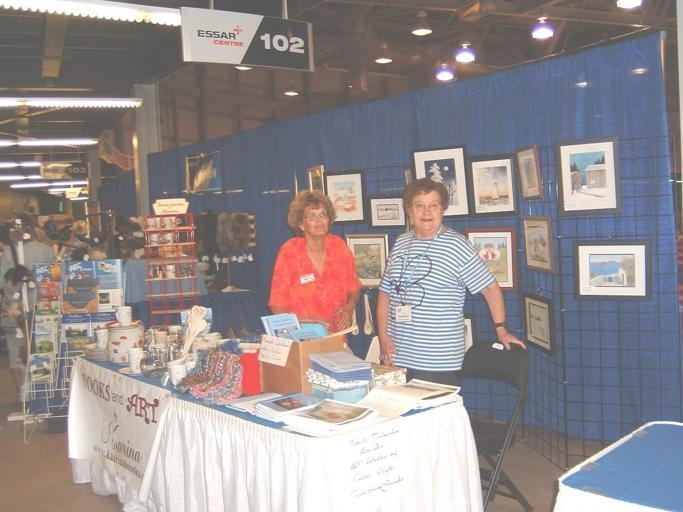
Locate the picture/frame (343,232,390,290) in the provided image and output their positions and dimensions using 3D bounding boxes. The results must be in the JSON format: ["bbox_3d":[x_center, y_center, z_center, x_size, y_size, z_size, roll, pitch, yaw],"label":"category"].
[{"bbox_3d":[0.252,0.045,5.473,0.537,0.645,0.042,-4,-2,39],"label":"picture/frame"}]

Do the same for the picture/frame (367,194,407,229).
[{"bbox_3d":[0.455,-0.448,5.639,0.336,0.288,0.026,2,8,29],"label":"picture/frame"}]

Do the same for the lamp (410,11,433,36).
[{"bbox_3d":[1.009,-2.963,7.442,0.254,0.280,0.253,2,0,0],"label":"lamp"}]

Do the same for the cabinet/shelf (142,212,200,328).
[{"bbox_3d":[-1.922,0.180,6.713,0.600,0.968,1.341,-4,2,-19],"label":"cabinet/shelf"}]

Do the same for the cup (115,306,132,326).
[{"bbox_3d":[-1.605,0.436,4.350,0.095,0.115,0.196,-4,2,-23],"label":"cup"}]

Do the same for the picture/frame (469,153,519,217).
[{"bbox_3d":[1.342,-0.638,5.098,0.551,0.728,0.078,-1,7,25],"label":"picture/frame"}]

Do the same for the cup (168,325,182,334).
[{"bbox_3d":[-1.223,0.541,4.324,0.066,0.061,0.085,0,-8,8],"label":"cup"}]

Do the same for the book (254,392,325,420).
[{"bbox_3d":[-0.271,0.816,3.173,0.265,0.072,0.339,-2,2,42],"label":"book"}]

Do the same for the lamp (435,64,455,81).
[{"bbox_3d":[1.328,-2.387,7.525,0.051,0.225,0.293,-5,2,-42],"label":"lamp"}]

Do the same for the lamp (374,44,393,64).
[{"bbox_3d":[0.563,-2.706,7.769,0.221,0.244,0.241,7,11,23],"label":"lamp"}]

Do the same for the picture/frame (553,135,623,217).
[{"bbox_3d":[1.925,-0.636,4.559,0.624,0.777,0.050,2,13,25],"label":"picture/frame"}]

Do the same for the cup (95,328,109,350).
[{"bbox_3d":[-1.815,0.628,4.463,0.124,0.167,0.153,8,-11,-41],"label":"cup"}]

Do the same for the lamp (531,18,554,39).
[{"bbox_3d":[2.293,-2.603,6.659,0.225,0.216,0.220,-6,10,-42],"label":"lamp"}]

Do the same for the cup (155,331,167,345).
[{"bbox_3d":[-1.270,0.571,4.139,0.077,0.089,0.079,3,-7,0],"label":"cup"}]

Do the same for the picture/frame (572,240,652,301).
[{"bbox_3d":[2.119,0.101,4.545,0.471,0.407,0.036,0,1,24],"label":"picture/frame"}]

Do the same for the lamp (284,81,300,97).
[{"bbox_3d":[-0.739,-2.519,8.753,0.228,0.259,0.232,11,15,41],"label":"lamp"}]

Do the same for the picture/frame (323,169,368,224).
[{"bbox_3d":[0.061,-0.595,5.775,0.631,0.736,0.048,4,7,42],"label":"picture/frame"}]

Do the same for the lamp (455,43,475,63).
[{"bbox_3d":[1.539,-2.528,7.243,0.209,0.207,0.214,8,12,32],"label":"lamp"}]

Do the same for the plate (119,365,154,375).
[{"bbox_3d":[-1.380,0.782,3.962,0.140,0.020,0.141,1,0,0],"label":"plate"}]

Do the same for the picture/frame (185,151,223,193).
[{"bbox_3d":[-1.837,-1.175,7.928,0.029,0.458,0.627,-3,4,-40],"label":"picture/frame"}]

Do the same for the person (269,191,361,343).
[{"bbox_3d":[-0.216,0.023,4.567,0.645,1.082,0.450,-3,2,7],"label":"person"}]
